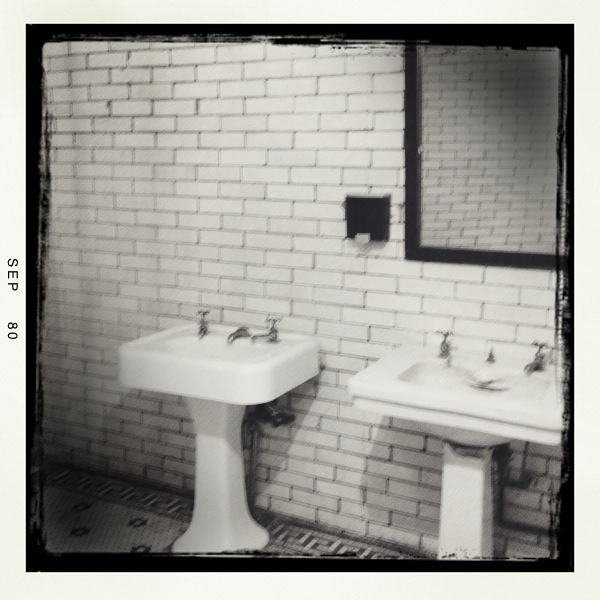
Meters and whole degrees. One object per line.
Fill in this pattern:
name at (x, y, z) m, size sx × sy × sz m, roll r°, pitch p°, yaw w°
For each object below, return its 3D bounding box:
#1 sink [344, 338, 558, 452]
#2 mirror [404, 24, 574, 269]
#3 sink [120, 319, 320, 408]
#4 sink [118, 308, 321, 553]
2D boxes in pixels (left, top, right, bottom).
sink at (0.479, 0.320, 1.889) m, size 0.549 × 0.143 × 0.775 m, roll 8°, pitch -2°, yaw 23°
mirror at (0.541, -0.449, 1.828) m, size 0.543 × 0.494 × 0.076 m, roll 6°, pitch 4°, yaw 9°
sink at (-0.280, 0.202, 2.005) m, size 0.589 × 0.237 × 0.335 m, roll 7°, pitch 4°, yaw 25°
sink at (-0.295, 0.434, 2.021) m, size 0.562 × 0.786 × 0.344 m, roll 8°, pitch 5°, yaw 26°
